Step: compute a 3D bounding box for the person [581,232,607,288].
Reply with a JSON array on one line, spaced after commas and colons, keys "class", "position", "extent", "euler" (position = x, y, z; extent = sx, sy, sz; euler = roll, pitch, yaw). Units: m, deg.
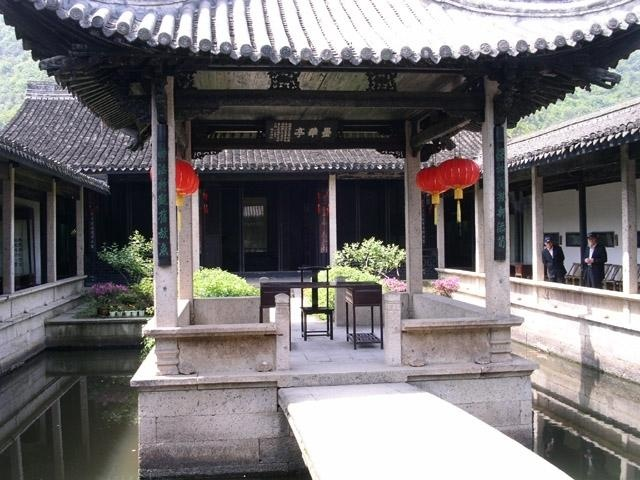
[{"class": "person", "position": [5.755, 0.473, 13.002], "extent": [0.470, 1.131, 0.534], "euler": [-7, 11, -34]}]

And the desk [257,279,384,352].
[{"class": "desk", "position": [0.428, 1.186, 10.213], "extent": [0.834, 1.019, 1.535], "euler": [-3, -5, -7]}]

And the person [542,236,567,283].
[{"class": "person", "position": [5.490, 0.515, 14.290], "extent": [0.514, 1.076, 0.709], "euler": [-1, 9, 0]}]

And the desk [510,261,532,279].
[{"class": "desk", "position": [5.747, 0.866, 17.547], "extent": [0.554, 0.522, 1.019], "euler": [1, 10, 15]}]

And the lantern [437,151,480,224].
[{"class": "lantern", "position": [2.179, -0.968, 9.637], "extent": [0.605, 0.645, 0.281], "euler": [0, 9, 11]}]

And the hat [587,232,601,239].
[{"class": "hat", "position": [6.338, -0.098, 14.190], "extent": [0.205, 0.087, 0.161], "euler": [-3, 2, -6]}]

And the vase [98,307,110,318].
[{"class": "vase", "position": [-5.230, 1.727, 14.755], "extent": [0.322, 0.180, 0.147], "euler": [0, 9, 10]}]

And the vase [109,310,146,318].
[{"class": "vase", "position": [-4.596, 1.758, 14.582], "extent": [0.840, 0.134, 0.211], "euler": [-2, 9, -6]}]

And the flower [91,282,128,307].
[{"class": "flower", "position": [-5.187, 1.340, 15.079], "extent": [0.601, 0.438, 0.616], "euler": [1, 3, 33]}]
